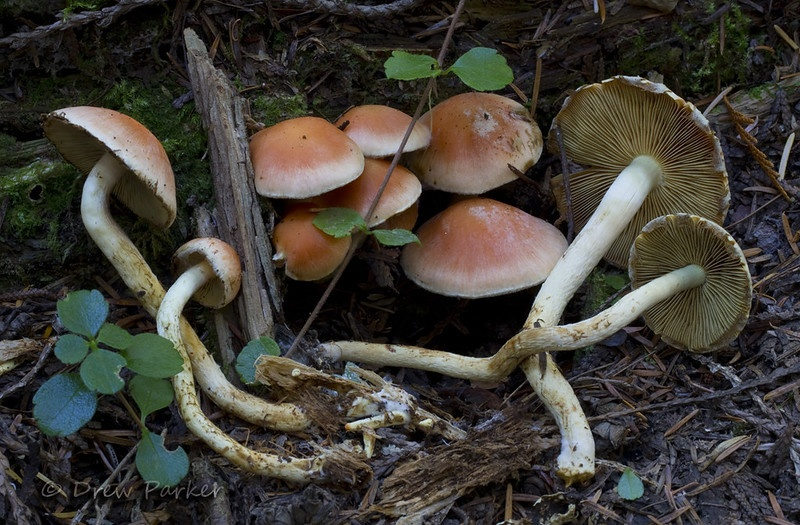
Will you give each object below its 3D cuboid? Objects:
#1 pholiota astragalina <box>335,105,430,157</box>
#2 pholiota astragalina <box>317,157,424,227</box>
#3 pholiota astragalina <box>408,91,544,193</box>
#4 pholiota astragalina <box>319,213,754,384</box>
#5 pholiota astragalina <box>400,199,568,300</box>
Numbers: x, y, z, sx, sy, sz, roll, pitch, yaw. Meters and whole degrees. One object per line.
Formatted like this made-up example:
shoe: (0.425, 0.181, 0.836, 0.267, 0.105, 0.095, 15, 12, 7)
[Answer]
pholiota astragalina: (-0.143, -1.053, 5.105, 0.543, 0.454, 0.601, 11, 18, 38)
pholiota astragalina: (-0.178, -0.517, 4.912, 0.578, 0.404, 0.592, 27, 48, 37)
pholiota astragalina: (0.622, -0.914, 5.134, 0.827, 0.307, 0.831, -31, 63, -9)
pholiota astragalina: (1.228, 0.272, 4.588, 2.252, 0.957, 0.670, -9, 51, 0)
pholiota astragalina: (0.684, -0.111, 5.436, 1.376, 1.486, 0.673, -2, 92, 5)
